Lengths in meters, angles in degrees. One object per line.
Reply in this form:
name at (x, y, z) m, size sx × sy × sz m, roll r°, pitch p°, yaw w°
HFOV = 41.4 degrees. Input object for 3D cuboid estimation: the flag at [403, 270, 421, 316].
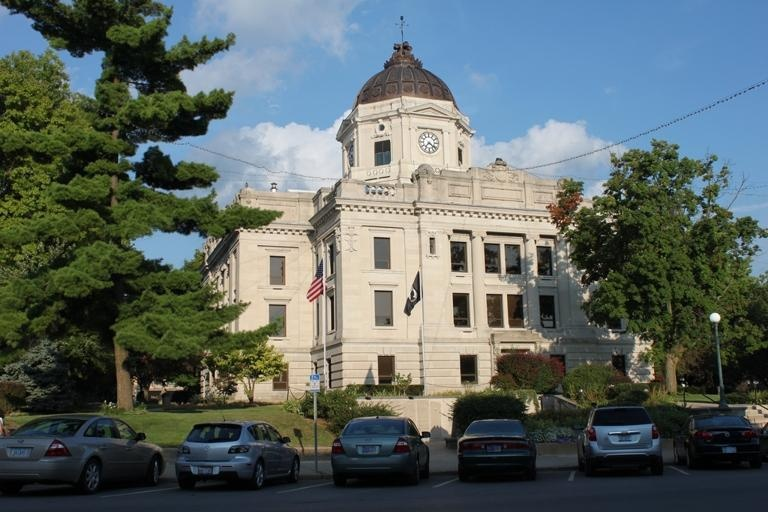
flag at (1.988, 2.794, 70.917) m, size 0.430 × 1.375 × 3.617 m, roll 6°, pitch -53°, yaw -13°

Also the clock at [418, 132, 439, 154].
clock at (3.568, -9.087, 82.841) m, size 1.466 × 1.425 × 0.133 m, roll 20°, pitch -12°, yaw -12°

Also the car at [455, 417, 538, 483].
car at (4.573, 7.905, 41.113) m, size 3.037 × 2.339 × 1.316 m, roll 0°, pitch -16°, yaw 1°

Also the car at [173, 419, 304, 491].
car at (-5.439, 8.039, 41.218) m, size 2.519 × 1.760 × 4.383 m, roll -4°, pitch -8°, yaw 23°
